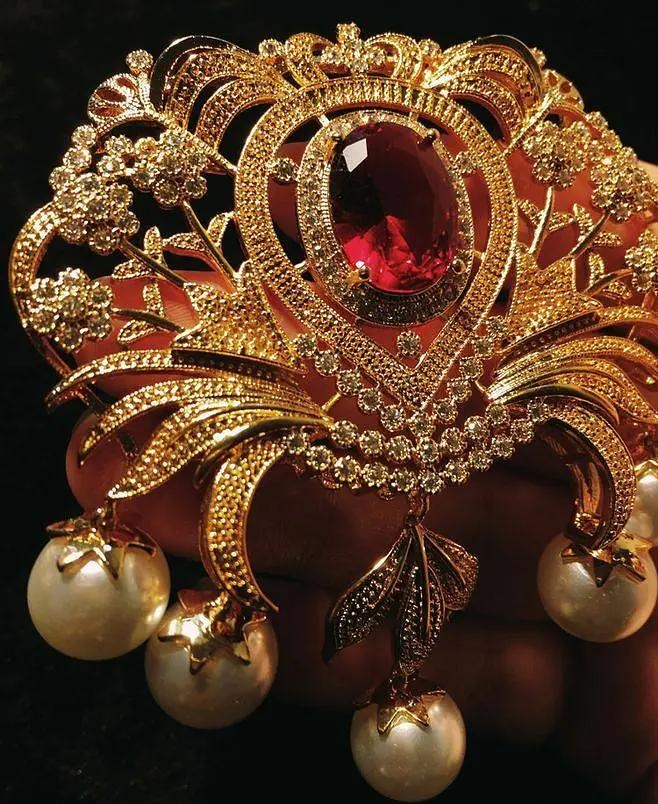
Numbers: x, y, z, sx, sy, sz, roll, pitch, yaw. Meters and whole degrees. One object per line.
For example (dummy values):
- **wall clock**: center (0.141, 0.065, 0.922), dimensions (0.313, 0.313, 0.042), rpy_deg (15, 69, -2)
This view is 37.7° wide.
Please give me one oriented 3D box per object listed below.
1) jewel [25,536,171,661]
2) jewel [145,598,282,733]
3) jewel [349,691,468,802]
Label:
- **jewel**: center (-0.163, 0.132, 0.711), dimensions (0.111, 0.095, 0.098), rpy_deg (7, 8, -18)
- **jewel**: center (-0.085, 0.186, 0.706), dimensions (0.100, 0.079, 0.093), rpy_deg (-9, 29, -26)
- **jewel**: center (0.061, 0.254, 0.752), dimensions (0.103, 0.090, 0.084), rpy_deg (-4, 15, -3)
